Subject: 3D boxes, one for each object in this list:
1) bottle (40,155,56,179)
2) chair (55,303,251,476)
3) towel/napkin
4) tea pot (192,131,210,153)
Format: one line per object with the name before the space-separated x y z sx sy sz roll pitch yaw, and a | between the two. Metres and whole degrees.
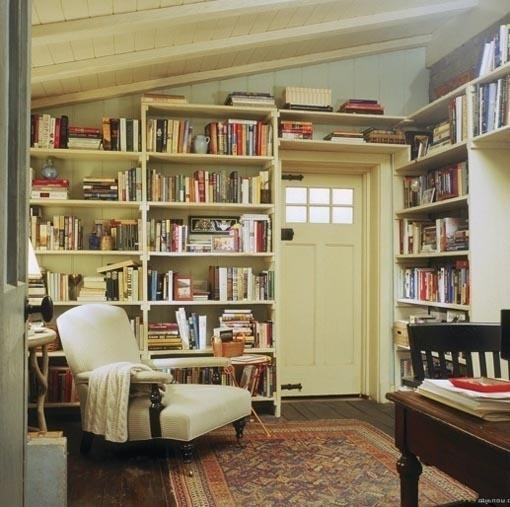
bottle | -1.524 -0.629 4.120 0.117 0.190 0.208 0 -1 -20
chair | -0.603 0.752 3.424 1.112 0.841 0.863 -3 -4 22
towel/napkin | -0.780 0.792 3.275 0.442 0.456 0.508 -2 -5 23
tea pot | -0.449 -0.834 4.182 0.173 0.152 0.101 2 -5 -19
